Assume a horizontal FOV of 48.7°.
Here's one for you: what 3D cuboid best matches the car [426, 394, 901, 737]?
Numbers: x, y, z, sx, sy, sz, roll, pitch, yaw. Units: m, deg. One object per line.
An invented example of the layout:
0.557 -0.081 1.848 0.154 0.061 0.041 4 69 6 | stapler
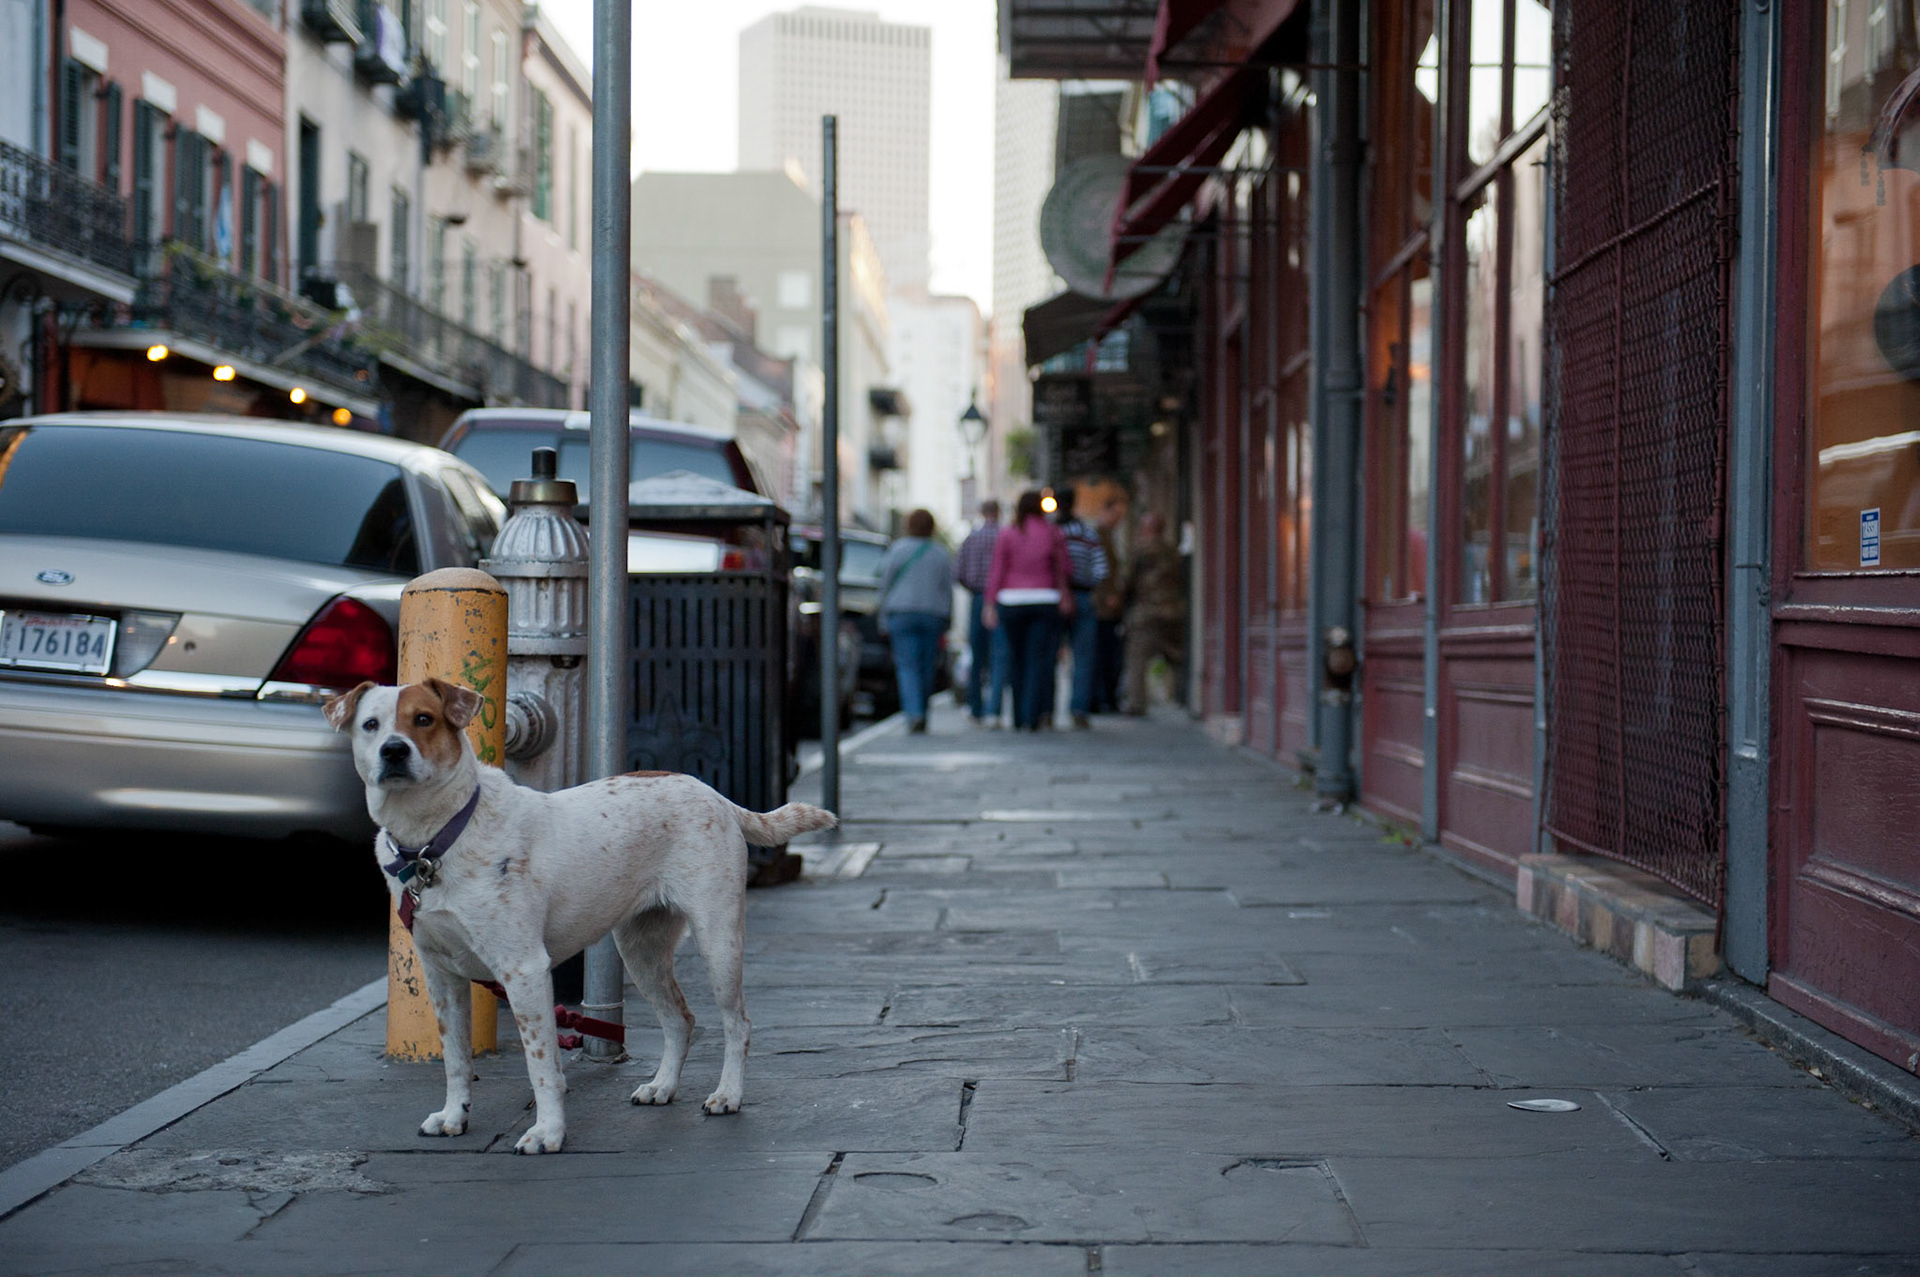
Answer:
-1.611 -0.210 16.370 2.615 3.176 5.264 1 4 17 | car
